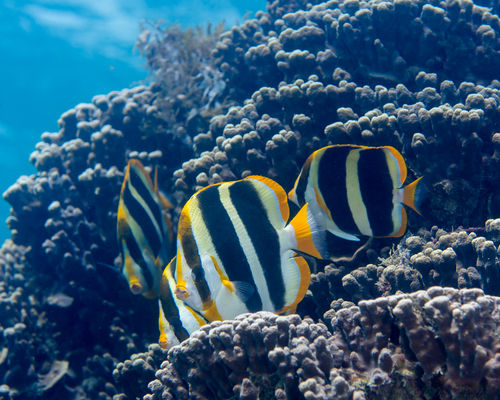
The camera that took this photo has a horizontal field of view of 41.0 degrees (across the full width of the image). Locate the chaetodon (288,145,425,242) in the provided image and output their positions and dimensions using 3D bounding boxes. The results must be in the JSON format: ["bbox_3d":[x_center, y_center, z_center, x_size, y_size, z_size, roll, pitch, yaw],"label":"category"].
[{"bbox_3d":[1.271,-0.053,7.871,0.992,0.902,0.254,0,6,2],"label":"chaetodon"}]
